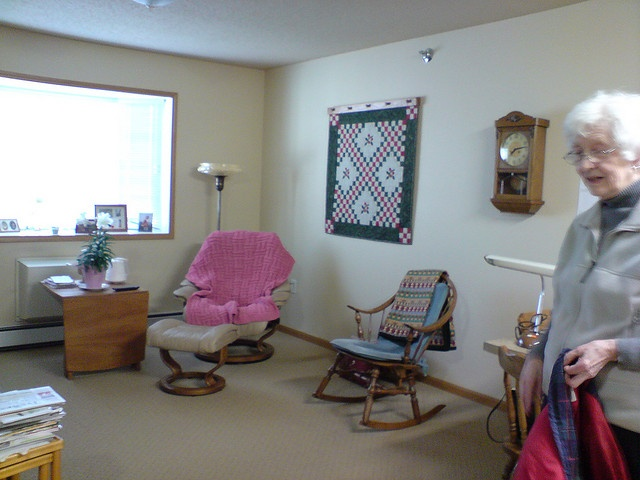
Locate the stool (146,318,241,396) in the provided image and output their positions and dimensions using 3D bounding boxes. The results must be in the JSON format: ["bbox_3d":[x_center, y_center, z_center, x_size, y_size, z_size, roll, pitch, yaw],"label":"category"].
[{"bbox_3d":[-0.979,0.861,4.032,0.730,0.473,0.550,1,-2,11],"label":"stool"}]

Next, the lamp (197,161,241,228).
[{"bbox_3d":[-1.107,-0.463,5.371,0.455,0.724,0.436,1,11,-13],"label":"lamp"}]

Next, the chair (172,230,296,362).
[{"bbox_3d":[-1.006,0.466,4.769,1.374,1.110,1.158,0,-2,5],"label":"chair"}]

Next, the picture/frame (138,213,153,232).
[{"bbox_3d":[-1.858,-0.188,5.290,0.144,0.194,0.108,-1,11,-22],"label":"picture/frame"}]

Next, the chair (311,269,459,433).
[{"bbox_3d":[0.518,0.740,3.702,0.787,1.004,0.902,12,13,39],"label":"chair"}]

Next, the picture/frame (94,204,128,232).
[{"bbox_3d":[-2.089,-0.216,4.953,0.337,0.275,0.033,3,-13,-23],"label":"picture/frame"}]

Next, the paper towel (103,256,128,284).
[{"bbox_3d":[-1.761,0.267,4.384,0.245,0.205,0.177,6,4,37],"label":"paper towel"}]

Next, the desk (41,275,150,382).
[{"bbox_3d":[-1.953,0.705,4.322,0.854,0.665,0.796,-1,3,-28],"label":"desk"}]
